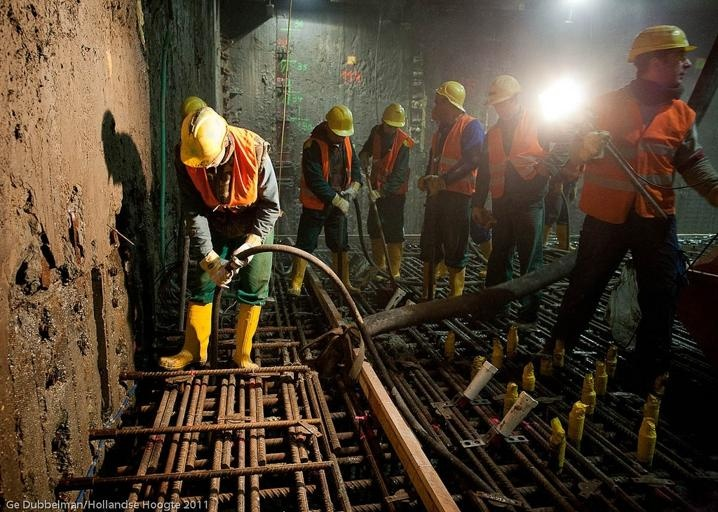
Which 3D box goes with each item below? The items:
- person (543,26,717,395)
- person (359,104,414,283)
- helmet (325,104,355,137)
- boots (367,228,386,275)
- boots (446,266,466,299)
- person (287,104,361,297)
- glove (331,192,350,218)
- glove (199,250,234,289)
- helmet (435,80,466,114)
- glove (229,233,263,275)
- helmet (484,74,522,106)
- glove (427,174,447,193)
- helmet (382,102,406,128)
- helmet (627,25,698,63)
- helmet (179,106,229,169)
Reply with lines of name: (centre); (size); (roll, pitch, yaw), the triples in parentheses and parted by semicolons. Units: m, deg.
person: (2.291, -0.371, 4.236); (1.051, 2.924, 0.515); (12, 15, 34)
person: (0.356, -0.863, 7.048); (0.666, 2.404, 0.959); (4, 12, 3)
helmet: (-0.234, -1.545, 5.897); (0.266, 0.195, 0.371); (-7, 53, -21)
boots: (0.279, 0.017, 7.068); (0.178, 0.152, 0.528); (2, 49, -14)
boots: (1.170, 0.318, 6.091); (0.114, 0.376, 0.099); (-8, 60, -6)
person: (-0.328, -0.699, 6.205); (0.848, 2.156, 0.602); (-3, 13, -25)
glove: (-0.204, -0.616, 6.054); (0.122, 0.250, 0.181); (-20, -14, 12)
glove: (-1.079, 0.110, 3.874); (0.114, 0.223, 0.290); (-33, 76, -35)
helmet: (1.101, -1.889, 6.025); (0.316, 0.345, 0.338); (6, 13, 11)
glove: (-0.865, -0.030, 3.868); (0.306, 0.085, 0.226); (-50, 19, -15)
helmet: (1.494, -1.725, 5.250); (0.346, 0.201, 0.255); (-33, 36, -16)
glove: (0.908, -0.845, 5.983); (0.154, 0.217, 0.174); (-9, 40, -4)
helmet: (0.461, -1.897, 6.863); (0.303, 0.233, 0.419); (0, 39, -12)
helmet: (2.414, -1.660, 4.106); (0.400, 0.212, 0.292); (6, 28, 42)
helmet: (-1.080, -0.801, 3.555); (0.279, 0.444, 0.219); (1, -3, -11)
